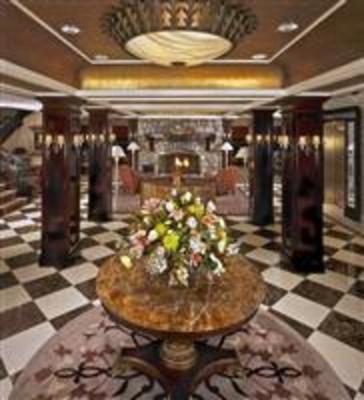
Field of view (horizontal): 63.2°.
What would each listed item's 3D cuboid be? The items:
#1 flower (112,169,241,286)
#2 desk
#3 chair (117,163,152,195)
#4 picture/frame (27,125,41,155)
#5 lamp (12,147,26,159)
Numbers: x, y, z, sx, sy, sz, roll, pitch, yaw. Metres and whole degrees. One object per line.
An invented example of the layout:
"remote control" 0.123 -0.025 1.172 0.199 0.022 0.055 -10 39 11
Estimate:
"flower" -0.016 0.221 2.220 0.758 0.757 0.763 5 11 11
"desk" 0.010 0.750 2.120 1.090 0.603 1.028 2 10 8
"chair" -1.443 -0.660 9.211 1.022 1.144 0.997 -10 18 -34
"picture/frame" -5.352 -2.207 10.790 0.466 1.031 0.227 6 14 26
"lamp" -5.762 -1.728 10.588 0.278 0.323 0.477 9 14 35
